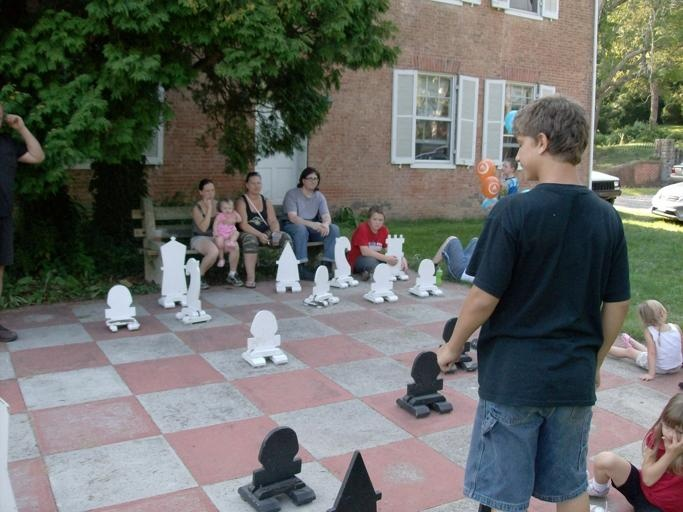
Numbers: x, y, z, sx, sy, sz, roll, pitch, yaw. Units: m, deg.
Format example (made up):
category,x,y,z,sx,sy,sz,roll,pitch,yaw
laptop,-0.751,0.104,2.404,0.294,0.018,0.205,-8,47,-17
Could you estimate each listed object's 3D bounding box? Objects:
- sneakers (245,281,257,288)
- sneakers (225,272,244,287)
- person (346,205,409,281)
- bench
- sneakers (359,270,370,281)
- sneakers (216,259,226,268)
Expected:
category,x,y,z,sx,sy,sz,roll,pitch,yaw
sneakers,-1.291,0.388,8.822,0.142,0.100,0.218,-1,14,-9
sneakers,-1.518,0.329,8.864,0.124,0.151,0.302,-4,9,-41
person,0.452,-0.228,9.406,0.775,1.141,1.081,-7,16,-34
bench,-1.806,-0.390,9.638,2.798,1.221,1.712,-6,15,-27
sneakers,0.348,0.291,9.305,0.125,0.166,0.379,-2,-5,-7
sneakers,-1.649,0.099,8.486,0.089,0.095,0.232,0,-1,-6
